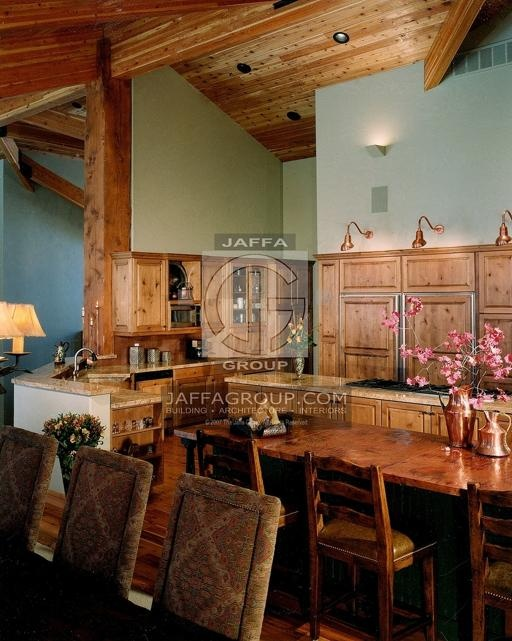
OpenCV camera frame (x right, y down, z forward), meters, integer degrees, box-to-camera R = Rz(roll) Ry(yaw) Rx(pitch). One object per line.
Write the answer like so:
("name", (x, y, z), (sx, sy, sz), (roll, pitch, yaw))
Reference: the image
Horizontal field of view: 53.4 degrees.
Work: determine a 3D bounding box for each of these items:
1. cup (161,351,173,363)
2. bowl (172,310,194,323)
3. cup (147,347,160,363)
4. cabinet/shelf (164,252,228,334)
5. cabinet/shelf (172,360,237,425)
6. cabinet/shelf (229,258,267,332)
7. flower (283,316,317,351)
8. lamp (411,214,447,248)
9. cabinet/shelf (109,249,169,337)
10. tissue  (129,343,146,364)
("cup", (-1.266, 0.518, 7.292), (0.155, 0.163, 0.150), (0, 0, 0))
("bowl", (-1.036, -0.070, 7.272), (0.181, 0.159, 0.261), (0, 0, 34))
("cup", (-1.413, 0.484, 7.004), (0.178, 0.192, 0.175), (0, 0, 0))
("cabinet/shelf", (-0.898, -0.376, 7.370), (0.406, 1.192, 1.282), (-2, -2, 41))
("cabinet/shelf", (-0.752, 0.951, 6.934), (0.379, 0.832, 1.011), (-1, -1, 41))
("cabinet/shelf", (-0.097, -0.342, 7.895), (0.291, 1.030, 0.719), (1, 2, 27))
("flower", (0.544, 0.164, 6.604), (0.358, 0.466, 0.242), (-9, -11, -41))
("lamp", (1.936, -1.053, 5.903), (0.358, 0.439, 0.571), (1, 2, 34))
("cabinet/shelf", (-1.493, -0.361, 6.616), (0.726, 1.030, 0.494), (-1, 2, -17))
("tissue ", (-1.602, 0.441, 6.845), (0.210, 0.282, 0.241), (-1, 2, -14))
